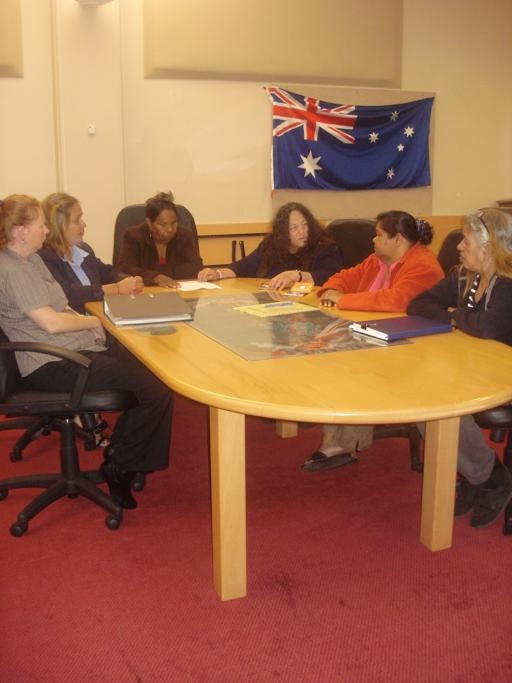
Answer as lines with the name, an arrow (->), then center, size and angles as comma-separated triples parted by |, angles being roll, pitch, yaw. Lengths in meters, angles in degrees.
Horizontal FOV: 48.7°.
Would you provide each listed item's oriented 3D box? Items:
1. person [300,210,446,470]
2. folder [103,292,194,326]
person -> 0.474, -0.102, 2.614 | 0.601, 0.855, 0.517 | -8, 19, 6
folder -> -0.398, -0.121, 2.083 | 0.208, 0.046, 0.204 | -6, 19, -26
